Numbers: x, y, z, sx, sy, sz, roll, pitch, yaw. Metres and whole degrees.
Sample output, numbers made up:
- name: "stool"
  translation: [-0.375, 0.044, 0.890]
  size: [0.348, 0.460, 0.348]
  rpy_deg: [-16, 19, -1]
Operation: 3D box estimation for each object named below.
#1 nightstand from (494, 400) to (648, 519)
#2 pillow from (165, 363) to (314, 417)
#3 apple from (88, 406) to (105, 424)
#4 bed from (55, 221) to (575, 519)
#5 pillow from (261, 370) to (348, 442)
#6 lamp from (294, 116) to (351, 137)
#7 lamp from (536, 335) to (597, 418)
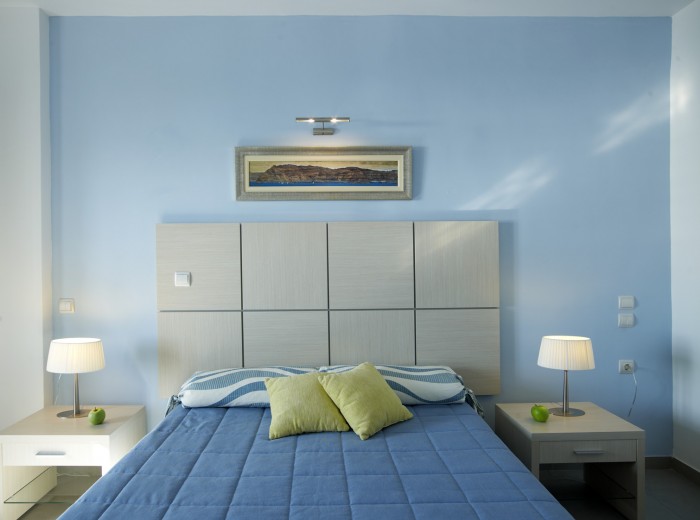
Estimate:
- name: "nightstand"
  translation: [1.554, 1.339, 4.444]
  size: [0.604, 0.520, 0.861]
  rpy_deg: [-1, -2, 6]
- name: "pillow"
  translation: [-0.839, 0.820, 4.265]
  size: [0.689, 0.170, 0.423]
  rpy_deg: [0, -1, -4]
- name: "apple"
  translation: [-1.711, 1.046, 4.303]
  size: [0.104, 0.120, 0.105]
  rpy_deg: [0, 1, -12]
- name: "bed"
  translation: [-0.132, 0.692, 4.122]
  size: [2.465, 1.932, 1.726]
  rpy_deg: [-1, -4, -2]
- name: "pillow"
  translation: [-0.278, 0.907, 3.916]
  size: [0.376, 0.119, 0.391]
  rpy_deg: [-4, 45, -11]
- name: "lamp"
  translation: [-0.197, -0.992, 4.664]
  size: [0.394, 0.134, 0.119]
  rpy_deg: [-3, 0, 1]
- name: "lamp"
  translation: [1.499, 0.804, 4.563]
  size: [0.487, 0.654, 0.498]
  rpy_deg: [2, 3, 29]
